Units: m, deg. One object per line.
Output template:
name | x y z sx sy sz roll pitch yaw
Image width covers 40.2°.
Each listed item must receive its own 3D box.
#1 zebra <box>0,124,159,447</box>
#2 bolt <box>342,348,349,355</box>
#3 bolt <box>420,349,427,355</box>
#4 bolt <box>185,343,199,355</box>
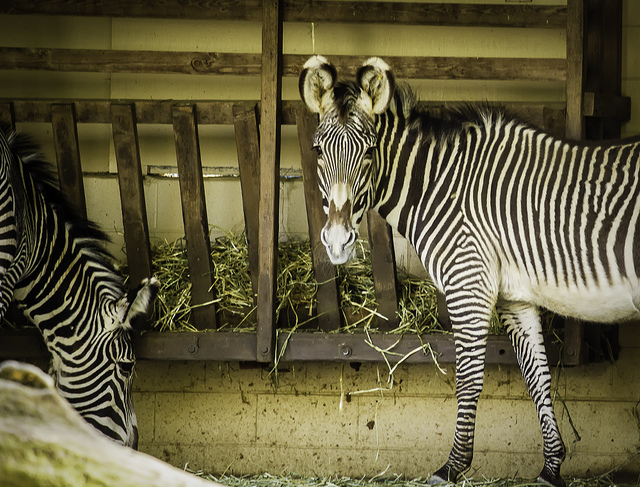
zebra | -1.440 0.235 5.127 0.812 1.810 0.520 -1 1 -23
bolt | 0.154 0.657 5.333 0.027 0.035 0.007 15 -7 7
bolt | 0.634 0.657 5.350 0.035 0.042 0.023 3 -9 -1
bolt | -0.787 0.651 5.391 0.072 0.063 0.016 1 1 17
